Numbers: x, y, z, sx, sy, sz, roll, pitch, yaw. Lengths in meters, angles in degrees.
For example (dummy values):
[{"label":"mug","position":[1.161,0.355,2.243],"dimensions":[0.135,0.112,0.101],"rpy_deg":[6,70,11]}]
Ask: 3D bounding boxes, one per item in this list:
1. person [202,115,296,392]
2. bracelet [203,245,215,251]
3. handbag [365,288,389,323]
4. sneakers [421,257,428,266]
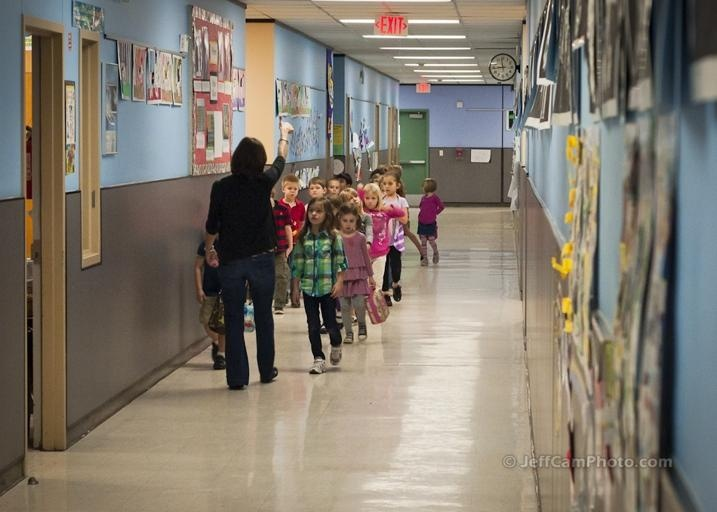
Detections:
[{"label":"person","position":[-0.964,-0.020,5.306],"dimensions":[0.757,2.265,0.537],"rpy_deg":[-2,5,-22]},{"label":"bracelet","position":[-1.368,-0.079,5.293],"dimensions":[0.082,0.043,0.068],"rpy_deg":[12,20,41]},{"label":"handbag","position":[0.209,0.538,6.240],"dimensions":[0.179,0.361,0.269],"rpy_deg":[-14,10,26]},{"label":"sneakers","position":[1.294,0.112,11.242],"dimensions":[0.069,0.153,0.202],"rpy_deg":[-1,0,15]}]
